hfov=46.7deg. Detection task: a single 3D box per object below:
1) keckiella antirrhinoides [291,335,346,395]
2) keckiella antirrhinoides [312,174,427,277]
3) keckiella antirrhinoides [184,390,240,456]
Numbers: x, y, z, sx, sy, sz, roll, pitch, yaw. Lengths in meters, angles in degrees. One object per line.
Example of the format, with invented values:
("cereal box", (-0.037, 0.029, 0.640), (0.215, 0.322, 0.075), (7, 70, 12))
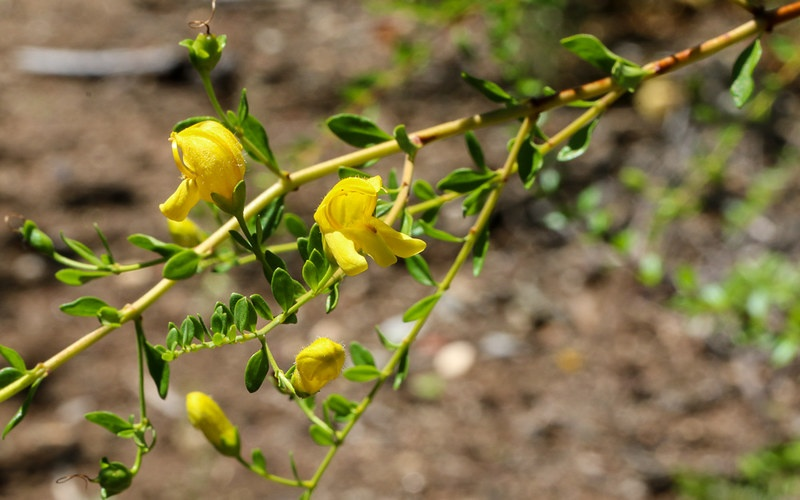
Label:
("keckiella antirrhinoides", (-0.307, 0.497, 3.770), (0.158, 0.202, 0.093), (28, 64, -38))
("keckiella antirrhinoides", (-0.136, -0.114, 3.694), (0.407, 0.165, 0.409), (45, 79, -14))
("keckiella antirrhinoides", (-0.796, 0.765, 4.101), (0.159, 0.163, 0.348), (-42, 94, -19))
